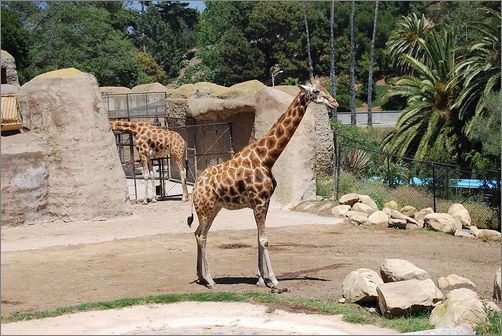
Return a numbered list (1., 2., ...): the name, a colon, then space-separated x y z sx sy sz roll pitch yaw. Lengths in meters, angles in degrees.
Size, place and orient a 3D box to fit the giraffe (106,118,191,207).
1. giraffe: -4.631 -0.431 35.789 3.869 3.782 3.232 1 7 16
